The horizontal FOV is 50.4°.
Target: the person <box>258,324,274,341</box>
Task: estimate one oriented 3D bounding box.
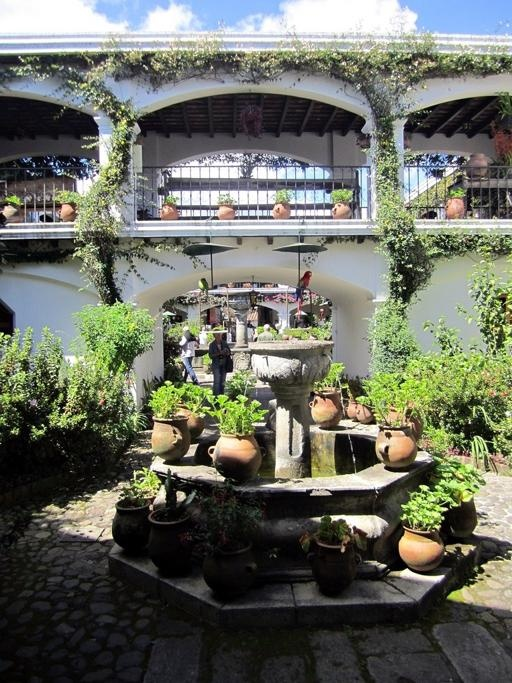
[{"bbox_3d":[0.270,-0.283,15.383,0.616,0.390,0.918,2,16,0],"label":"person"}]

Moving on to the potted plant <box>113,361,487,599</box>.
[{"bbox_3d":[0.490,1.046,4.386,2.180,0.847,3.024,1,10,30],"label":"potted plant"}]

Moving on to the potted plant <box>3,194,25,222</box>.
[{"bbox_3d":[-4.175,-2.260,9.489,0.417,0.533,0.482,3,-3,-23],"label":"potted plant"}]

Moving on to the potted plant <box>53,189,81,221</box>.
[{"bbox_3d":[-3.251,-2.318,9.325,0.306,0.564,1.636,-8,9,-22],"label":"potted plant"}]

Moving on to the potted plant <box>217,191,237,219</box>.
[{"bbox_3d":[-0.539,-2.344,9.427,0.292,0.488,0.463,-5,8,-5],"label":"potted plant"}]

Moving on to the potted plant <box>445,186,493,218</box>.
[{"bbox_3d":[3.858,-2.486,9.862,0.803,0.553,0.664,-2,4,-39],"label":"potted plant"}]

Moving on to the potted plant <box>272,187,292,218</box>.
[{"bbox_3d":[0.437,-2.353,9.343,0.293,0.531,0.440,-4,8,3],"label":"potted plant"}]
